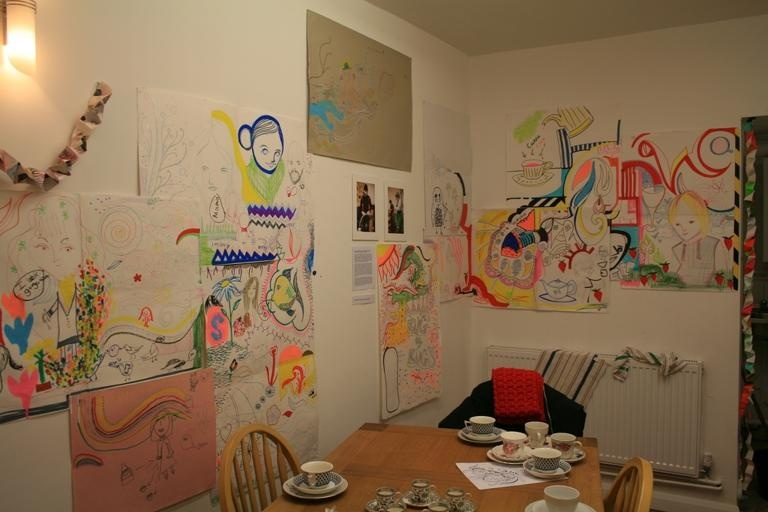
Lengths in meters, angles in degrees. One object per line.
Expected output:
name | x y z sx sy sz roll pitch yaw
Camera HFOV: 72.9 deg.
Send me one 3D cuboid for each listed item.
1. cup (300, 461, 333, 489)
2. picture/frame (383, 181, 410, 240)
cup | -0.310 0.985 2.359 0.105 0.074 0.110 2 -11 0
picture/frame | 0.075 -0.319 3.638 0.027 0.546 0.383 -3 -5 32
